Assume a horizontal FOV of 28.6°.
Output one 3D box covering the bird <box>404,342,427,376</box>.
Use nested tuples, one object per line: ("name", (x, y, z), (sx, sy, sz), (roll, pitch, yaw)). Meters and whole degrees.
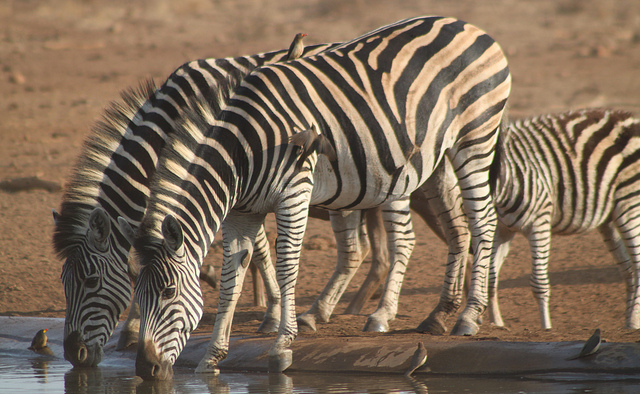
("bird", (2.295, 3.861, 29.984), (0.649, 0.725, 0.214), (-8, 15, -28))

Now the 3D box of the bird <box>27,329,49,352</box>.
("bird", (-7.018, 3.583, 31.658), (0.478, 0.490, 0.345), (-8, 15, -30))

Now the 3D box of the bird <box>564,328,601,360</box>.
("bird", (6.273, 3.550, 30.117), (1.048, 0.533, 0.240), (-20, 28, -13))
